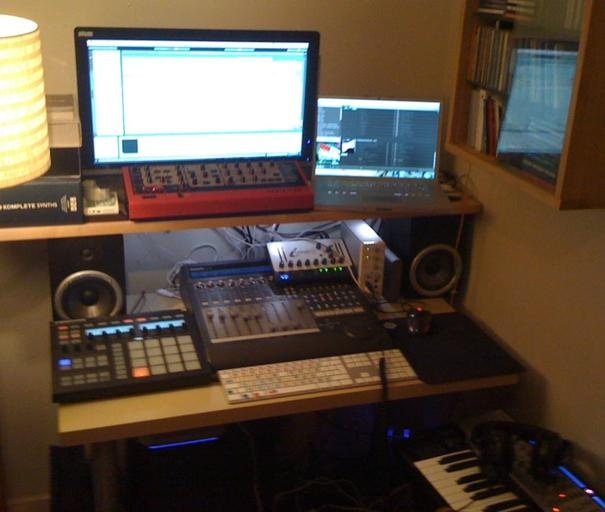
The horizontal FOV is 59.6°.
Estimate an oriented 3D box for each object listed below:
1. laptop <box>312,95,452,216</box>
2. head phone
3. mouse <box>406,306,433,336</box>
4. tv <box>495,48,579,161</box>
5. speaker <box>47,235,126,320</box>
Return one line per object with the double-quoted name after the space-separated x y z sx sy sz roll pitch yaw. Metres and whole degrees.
0.276 -0.382 1.991 0.593 0.404 0.368 1 31 -1 "laptop"
0.653 0.586 1.636 0.135 0.067 0.166 -3 18 -2 "head phone"
0.392 0.216 1.793 0.083 0.080 0.085 0 22 2 "mouse"
0.651 -0.402 1.422 0.060 0.245 0.260 5 5 -29 "tv"
-0.717 0.064 1.744 0.220 0.385 0.192 -5 14 -23 "speaker"
